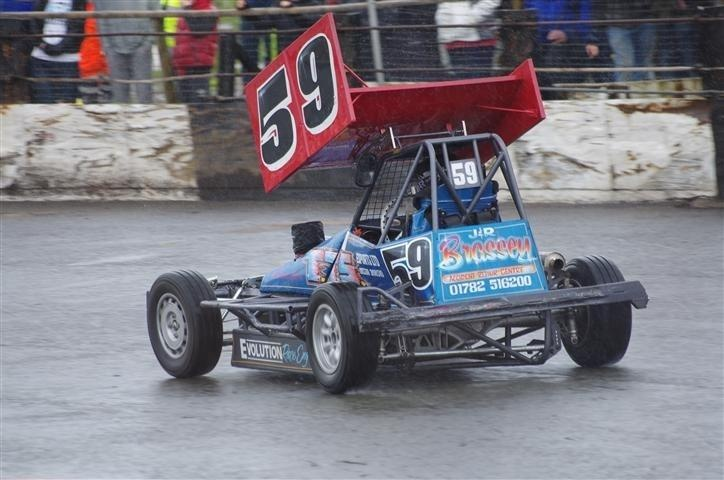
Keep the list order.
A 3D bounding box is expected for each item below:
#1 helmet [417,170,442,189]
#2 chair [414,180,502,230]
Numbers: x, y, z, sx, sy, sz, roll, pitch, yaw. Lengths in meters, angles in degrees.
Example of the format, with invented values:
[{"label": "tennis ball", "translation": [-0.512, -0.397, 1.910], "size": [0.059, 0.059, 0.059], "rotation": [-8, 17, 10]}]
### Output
[{"label": "helmet", "translation": [0.669, -0.634, 14.634], "size": [0.193, 0.079, 0.233], "rotation": [-11, 25, -7]}, {"label": "chair", "translation": [1.077, -0.341, 14.545], "size": [0.711, 0.271, 0.635], "rotation": [-5, 0, -19]}]
